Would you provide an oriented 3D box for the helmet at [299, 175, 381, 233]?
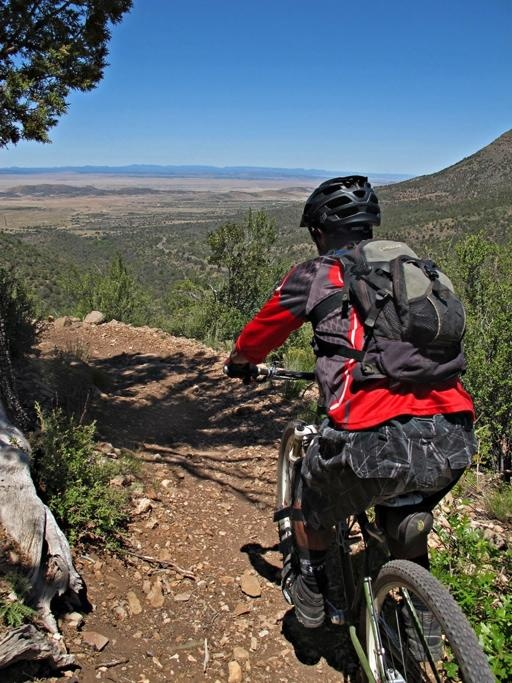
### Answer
[{"bbox_3d":[0.417,-0.654,2.585,0.360,0.218,0.432,-13,-4,-14],"label":"helmet"}]

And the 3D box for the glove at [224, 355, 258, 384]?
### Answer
[{"bbox_3d":[-0.087,0.136,2.994,0.152,0.112,0.202,17,-26,-9],"label":"glove"}]
